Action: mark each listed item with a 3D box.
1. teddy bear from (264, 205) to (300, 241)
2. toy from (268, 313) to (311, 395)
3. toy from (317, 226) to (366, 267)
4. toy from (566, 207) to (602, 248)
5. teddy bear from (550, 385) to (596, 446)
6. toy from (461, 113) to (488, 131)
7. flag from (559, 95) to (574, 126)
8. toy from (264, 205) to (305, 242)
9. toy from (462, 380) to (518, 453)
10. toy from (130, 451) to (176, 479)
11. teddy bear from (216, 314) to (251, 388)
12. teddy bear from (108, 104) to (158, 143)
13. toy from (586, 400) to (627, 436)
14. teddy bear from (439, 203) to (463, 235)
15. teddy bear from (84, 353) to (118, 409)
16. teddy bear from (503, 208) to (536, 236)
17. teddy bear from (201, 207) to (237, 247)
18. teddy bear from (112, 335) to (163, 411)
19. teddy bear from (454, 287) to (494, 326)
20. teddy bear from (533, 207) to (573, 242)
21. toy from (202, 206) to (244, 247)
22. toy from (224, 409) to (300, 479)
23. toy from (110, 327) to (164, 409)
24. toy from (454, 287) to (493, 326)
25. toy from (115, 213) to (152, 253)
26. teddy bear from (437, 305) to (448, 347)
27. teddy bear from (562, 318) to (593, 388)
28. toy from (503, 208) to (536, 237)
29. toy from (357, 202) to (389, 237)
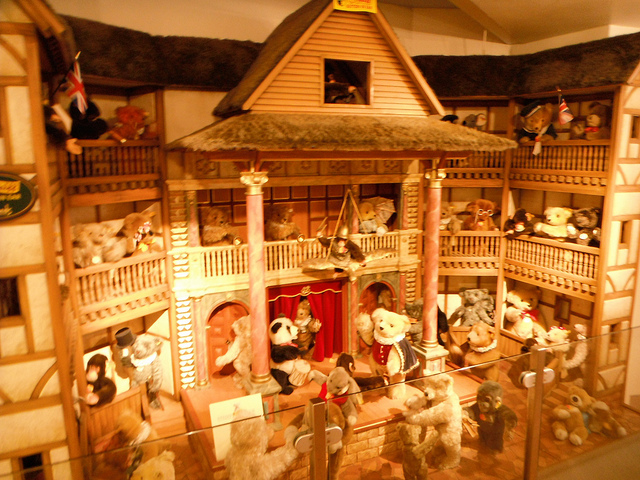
[{"bbox_3d":[-1.122,-0.398,12.514,0.884,0.838,0.916,3,-4,-17],"label":"teddy bear"},{"bbox_3d":[-0.762,2.730,11.187,0.855,1.775,0.565,-7,-4,-9],"label":"toy"},{"bbox_3d":[0.680,0.121,11.873,0.732,0.707,1.271,0,21,-39],"label":"toy"},{"bbox_3d":[6.881,-0.300,12.428,0.385,1.011,0.818,-4,-5,-42],"label":"toy"},{"bbox_3d":[3.561,2.463,6.725,0.503,0.715,0.540,0,3,-29],"label":"teddy bear"},{"bbox_3d":[4.438,-3.396,13.753,0.832,0.503,0.433,-1,24,-3],"label":"toy"},{"bbox_3d":[5.978,-3.208,11.707,0.255,0.690,0.371,-10,-5,26],"label":"flag"},{"bbox_3d":[-0.935,-0.359,12.470,0.975,0.947,1.003,6,-30,-10],"label":"toy"},{"bbox_3d":[2.314,2.437,6.521,0.672,0.845,0.230,-8,-4,16],"label":"toy"},{"bbox_3d":[-1.931,2.692,5.655,0.430,0.396,0.119,29,9,-37],"label":"toy"},{"bbox_3d":[-1.914,2.489,10.883,0.724,1.369,0.421,-7,-4,-11],"label":"teddy bear"},{"bbox_3d":[-4.062,-2.527,10.204,1.142,0.767,0.529,-16,28,-36],"label":"teddy bear"},{"bbox_3d":[4.144,2.605,6.973,0.340,0.373,0.531,-38,52,-17],"label":"toy"},{"bbox_3d":[3.824,-0.561,13.961,0.735,0.880,0.355,-3,-12,39],"label":"teddy bear"},{"bbox_3d":[-4.327,2.791,9.366,0.546,1.013,0.534,-6,-4,-23],"label":"teddy bear"},{"bbox_3d":[5.742,-0.500,13.810,0.280,0.739,0.779,18,-2,-39],"label":"teddy bear"},{"bbox_3d":[-2.472,-0.307,11.554,0.885,0.920,0.406,2,-1,-20],"label":"teddy bear"},{"bbox_3d":[-3.847,2.944,10.361,0.686,1.603,1.074,-8,-4,3],"label":"teddy bear"},{"bbox_3d":[4.288,1.939,13.603,1.399,1.190,0.488,0,-16,36],"label":"teddy bear"},{"bbox_3d":[6.470,-0.467,13.114,0.670,0.937,1.093,-6,6,-39],"label":"teddy bear"},{"bbox_3d":[-2.506,-0.358,11.570,1.006,0.901,0.394,-4,-6,-27],"label":"toy"},{"bbox_3d":[-0.731,2.568,6.100,0.982,0.872,0.623,-7,-1,-17],"label":"toy"},{"bbox_3d":[-3.824,2.872,10.451,1.062,1.780,0.771,-19,-3,12],"label":"toy"},{"bbox_3d":[4.378,1.927,13.595,1.231,1.321,0.446,1,-18,14],"label":"toy"},{"bbox_3d":[-4.152,-0.194,10.566,0.553,0.883,0.247,46,-28,-22],"label":"toy"},{"bbox_3d":[3.366,2.464,13.233,0.324,0.843,0.551,-8,-4,11],"label":"teddy bear"},{"bbox_3d":[3.709,1.627,6.932,0.555,0.922,0.427,13,-15,-26],"label":"teddy bear"},{"bbox_3d":[5.741,-0.514,13.796,0.870,0.762,0.383,3,-13,22],"label":"toy"},{"bbox_3d":[1.398,-0.584,13.176,0.658,0.778,0.748,-2,27,37],"label":"toy"}]
